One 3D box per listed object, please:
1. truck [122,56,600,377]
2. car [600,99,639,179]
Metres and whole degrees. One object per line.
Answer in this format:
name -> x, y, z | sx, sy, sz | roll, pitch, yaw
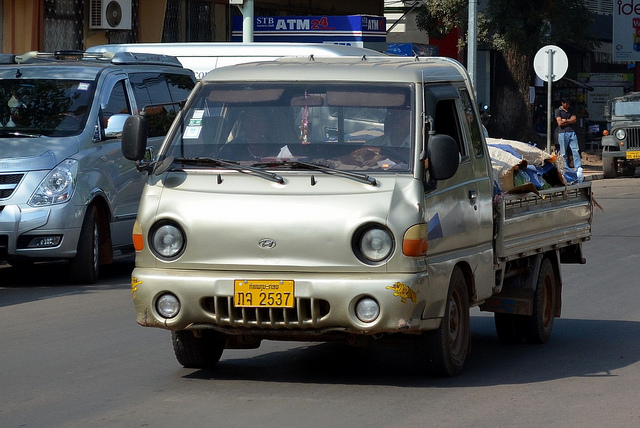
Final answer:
truck -> 0.551, 0.064, 6.145 | 2.458, 2.250, 4.195 | 0, 1, 20
car -> 13.546, -3.453, 26.826 | 1.469, 3.641, 1.221 | 1, 2, 29
